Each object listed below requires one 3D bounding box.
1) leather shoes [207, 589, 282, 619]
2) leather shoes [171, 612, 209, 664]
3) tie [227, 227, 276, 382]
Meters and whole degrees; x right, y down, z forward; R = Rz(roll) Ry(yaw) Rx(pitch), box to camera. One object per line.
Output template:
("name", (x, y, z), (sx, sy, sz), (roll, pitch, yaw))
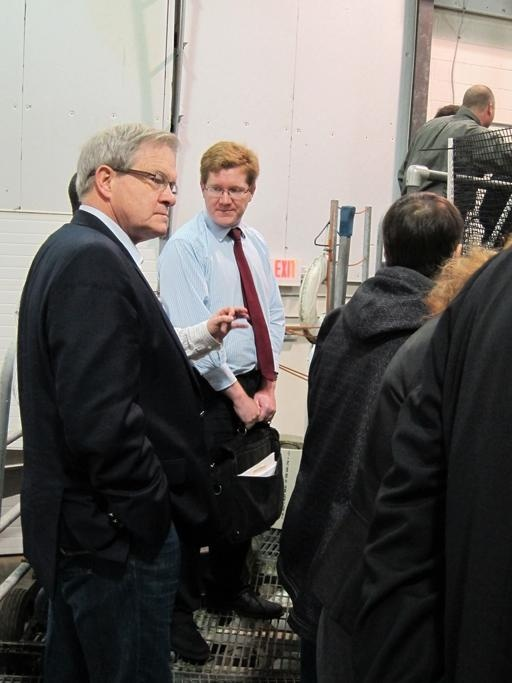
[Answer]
("leather shoes", (-0.049, 1.019, 2.211), (0.292, 0.131, 0.113), (2, 11, -1))
("leather shoes", (-0.238, 1.026, 2.002), (0.162, 0.175, 0.101), (6, -3, -13))
("tie", (-0.021, -0.199, 2.309), (0.097, 0.766, 0.074), (-12, -34, 0))
